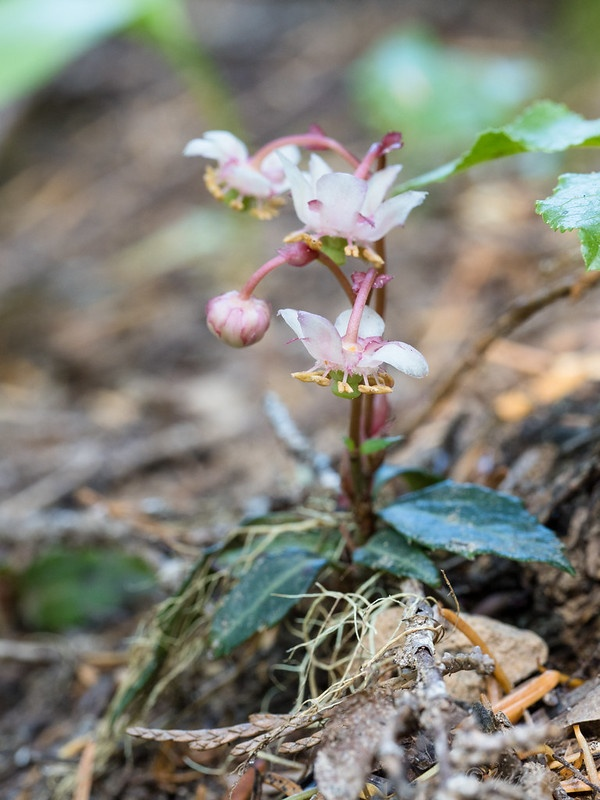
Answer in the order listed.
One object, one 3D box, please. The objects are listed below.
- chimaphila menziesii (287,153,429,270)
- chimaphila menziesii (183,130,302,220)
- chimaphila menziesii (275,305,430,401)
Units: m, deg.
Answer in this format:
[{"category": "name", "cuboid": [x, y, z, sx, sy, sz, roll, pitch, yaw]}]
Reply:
[{"category": "chimaphila menziesii", "cuboid": [0.080, -0.279, 1.240, 0.237, 0.107, 0.211, 13, 16, 8]}, {"category": "chimaphila menziesii", "cuboid": [-0.091, -0.360, 1.323, 0.120, 0.162, 0.075, -21, 43, 7]}, {"category": "chimaphila menziesii", "cuboid": [0.087, -0.048, 1.204, 0.192, 0.236, 0.080, 3, 86, -10]}]
